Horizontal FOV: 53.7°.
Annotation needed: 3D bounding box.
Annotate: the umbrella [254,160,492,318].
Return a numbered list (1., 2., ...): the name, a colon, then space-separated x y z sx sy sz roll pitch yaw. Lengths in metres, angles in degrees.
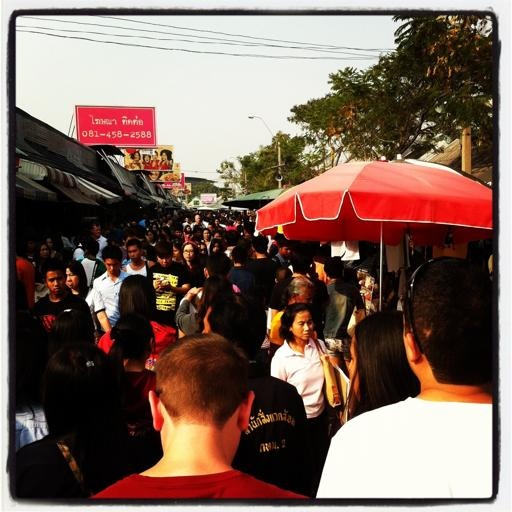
1. umbrella: 1.149 -0.133 5.131 1.892 0.822 2.011 -1 -4 -8
